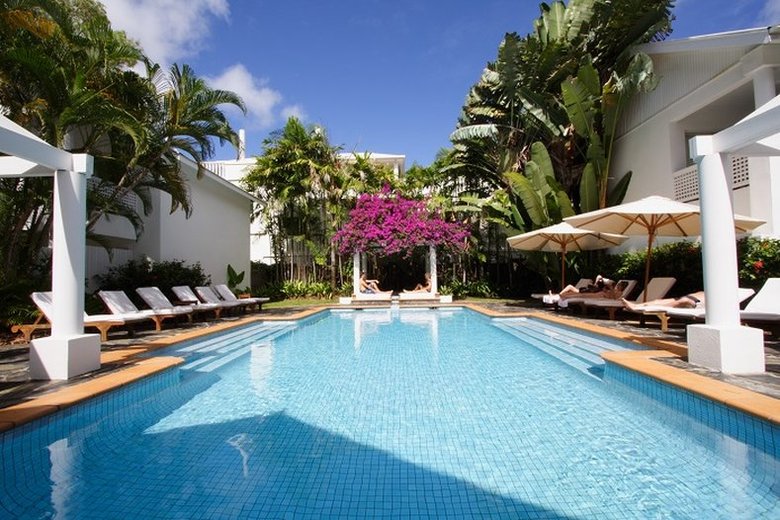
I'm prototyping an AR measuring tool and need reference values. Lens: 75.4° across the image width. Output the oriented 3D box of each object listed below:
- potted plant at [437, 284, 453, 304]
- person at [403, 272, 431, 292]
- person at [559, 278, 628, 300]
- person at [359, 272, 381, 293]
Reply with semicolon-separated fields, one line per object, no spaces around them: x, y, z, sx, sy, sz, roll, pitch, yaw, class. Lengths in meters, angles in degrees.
2.194;1.404;20.141;0.530;0.645;0.546;0;-7;-1;potted plant
1.055;0.972;20.031;1.184;0.792;0.557;-3;0;1;person
5.210;0.815;12.945;0.877;0.413;0.969;0;-3;4;person
-0.839;0.987;19.502;0.876;1.089;0.536;-4;-1;4;person
